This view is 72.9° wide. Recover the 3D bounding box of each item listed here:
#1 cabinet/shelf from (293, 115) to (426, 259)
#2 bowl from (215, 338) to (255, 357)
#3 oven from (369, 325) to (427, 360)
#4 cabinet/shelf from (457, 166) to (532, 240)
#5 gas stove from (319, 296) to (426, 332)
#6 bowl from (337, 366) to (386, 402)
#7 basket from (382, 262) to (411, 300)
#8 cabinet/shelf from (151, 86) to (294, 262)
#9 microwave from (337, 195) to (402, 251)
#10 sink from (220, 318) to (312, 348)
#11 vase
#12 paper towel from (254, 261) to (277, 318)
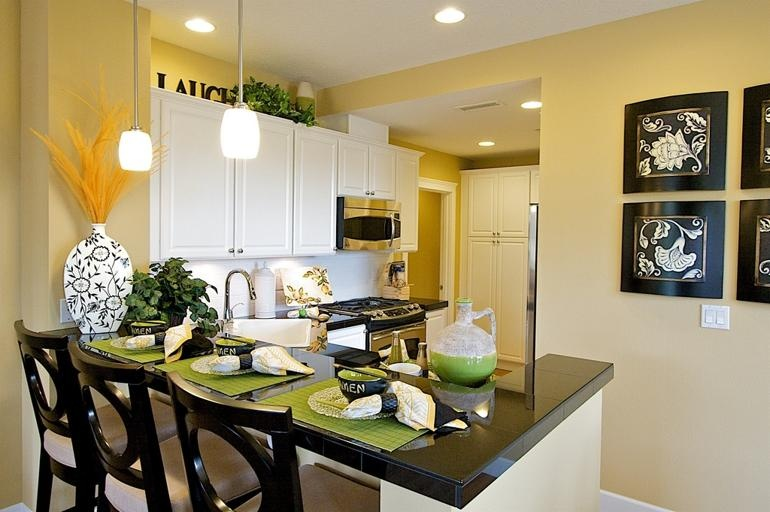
[{"bbox_3d":[-0.284,-0.665,4.908,1.493,0.855,0.284,-3,6,-42],"label":"cabinet/shelf"},{"bbox_3d":[-0.781,0.463,2.664,0.140,0.047,0.108,-2,-2,20],"label":"bowl"},{"bbox_3d":[0.081,0.792,4.965,0.581,0.312,0.364,-8,6,-25],"label":"oven"},{"bbox_3d":[1.396,-0.678,6.878,1.089,0.879,0.408,-3,7,-16],"label":"cabinet/shelf"},{"bbox_3d":[-0.115,0.544,5.051,0.812,0.187,0.708,-4,7,-38],"label":"gas stove"},{"bbox_3d":[-0.098,0.586,2.313,0.236,0.125,0.200,1,4,-19],"label":"bowl"},{"bbox_3d":[0.107,0.272,5.641,0.306,0.372,0.269,-1,7,4],"label":"basket"},{"bbox_3d":[-1.379,-0.567,4.190,0.551,1.188,1.413,5,5,32],"label":"cabinet/shelf"},{"bbox_3d":[-0.274,-0.301,5.192,0.510,0.511,0.835,3,4,44],"label":"microwave"},{"bbox_3d":[-0.924,0.618,4.291,0.566,0.097,0.369,1,4,4],"label":"sink"},{"bbox_3d":[-1.839,0.152,3.317,0.399,0.691,0.211,-3,16,-23],"label":"vase"},{"bbox_3d":[-1.030,0.311,4.407,0.167,0.394,0.225,-2,15,-20],"label":"paper towel"}]
